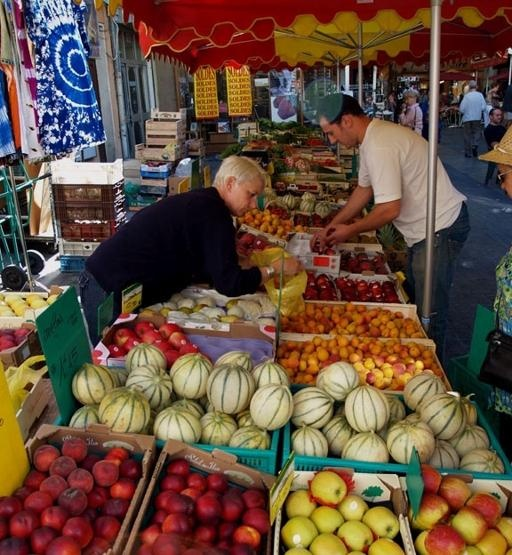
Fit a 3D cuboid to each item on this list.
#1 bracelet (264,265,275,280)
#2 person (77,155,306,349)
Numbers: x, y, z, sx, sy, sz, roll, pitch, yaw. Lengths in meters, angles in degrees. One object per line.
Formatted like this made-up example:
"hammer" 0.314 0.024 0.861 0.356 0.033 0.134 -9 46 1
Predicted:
"bracelet" 0.082 -0.030 2.643 0.072 0.063 0.068 -3 19 -7
"person" -0.440 -0.312 2.912 1.355 1.254 1.092 7 15 -1
